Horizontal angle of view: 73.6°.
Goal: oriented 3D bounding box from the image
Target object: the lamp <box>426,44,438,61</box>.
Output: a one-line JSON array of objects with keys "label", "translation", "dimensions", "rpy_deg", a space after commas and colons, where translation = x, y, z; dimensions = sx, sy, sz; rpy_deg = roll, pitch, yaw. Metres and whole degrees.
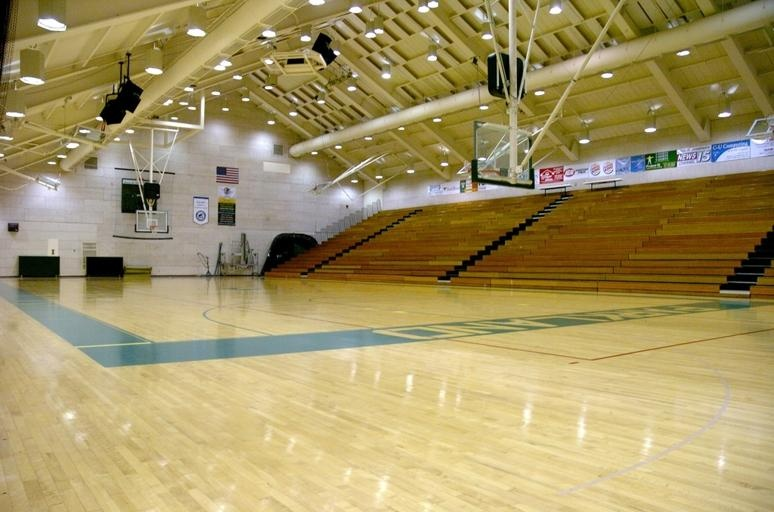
[{"label": "lamp", "translation": [1.260, -5.709, 14.412], "dimensions": [0.192, 0.449, 0.510], "rpy_deg": [2, 5, 13]}]

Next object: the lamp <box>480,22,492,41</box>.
[{"label": "lamp", "translation": [2.443, -5.542, 12.697], "dimensions": [0.206, 0.430, 0.733], "rpy_deg": [1, 4, 9]}]
